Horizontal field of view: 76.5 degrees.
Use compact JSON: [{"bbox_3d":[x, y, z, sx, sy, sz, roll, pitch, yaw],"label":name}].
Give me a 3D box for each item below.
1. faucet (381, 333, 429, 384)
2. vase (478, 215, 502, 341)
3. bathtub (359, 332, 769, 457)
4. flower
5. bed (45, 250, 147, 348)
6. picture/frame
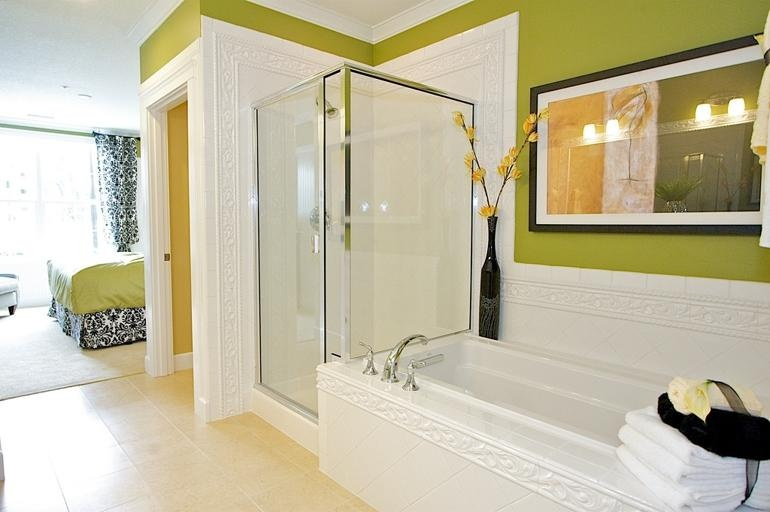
[{"bbox_3d":[0.156,0.647,3.224,0.426,0.263,0.142,-16,31,-39],"label":"faucet"},{"bbox_3d":[0.822,0.166,3.769,0.157,0.929,0.251,3,15,12],"label":"vase"},{"bbox_3d":[1.187,0.858,3.157,1.794,0.356,0.926,4,8,44],"label":"bathtub"},{"bbox_3d":[0.926,-0.739,3.758,0.800,0.791,0.188,8,16,31],"label":"flower"},{"bbox_3d":[-3.227,0.528,5.912,1.269,0.609,1.283,9,4,43],"label":"bed"},{"bbox_3d":[1.786,-0.804,3.213,1.554,1.040,0.042,1,3,37],"label":"picture/frame"}]
